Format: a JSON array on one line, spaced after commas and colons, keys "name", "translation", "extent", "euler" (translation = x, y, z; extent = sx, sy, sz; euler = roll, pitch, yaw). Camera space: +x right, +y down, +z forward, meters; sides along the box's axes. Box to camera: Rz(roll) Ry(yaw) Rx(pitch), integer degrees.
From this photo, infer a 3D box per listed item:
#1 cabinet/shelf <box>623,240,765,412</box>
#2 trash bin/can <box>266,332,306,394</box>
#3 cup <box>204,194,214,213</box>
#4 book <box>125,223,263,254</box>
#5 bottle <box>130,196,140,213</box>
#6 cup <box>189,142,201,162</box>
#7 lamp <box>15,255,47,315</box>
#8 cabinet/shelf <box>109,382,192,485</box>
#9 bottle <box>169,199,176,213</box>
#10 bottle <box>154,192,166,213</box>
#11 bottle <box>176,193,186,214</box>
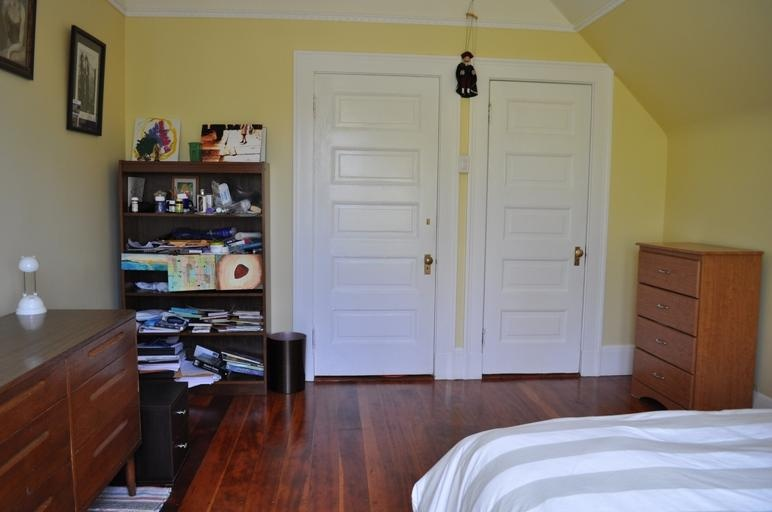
[{"name": "cabinet/shelf", "translation": [2.259, 0.567, 4.044], "extent": [0.835, 1.269, 0.583], "euler": [9, 17, 26]}, {"name": "trash bin/can", "translation": [-0.783, 0.882, 4.590], "extent": [0.400, 0.431, 0.392], "euler": [0, 5, 3]}, {"name": "cup", "translation": [-1.382, -0.407, 4.314], "extent": [0.078, 0.126, 0.091], "euler": [-5, 16, -21]}, {"name": "book", "translation": [-1.494, -0.134, 4.396], "extent": [1.028, 0.167, 0.322], "euler": [-1, 15, -7]}, {"name": "bottle", "translation": [-1.930, -0.393, 4.247], "extent": [0.070, 0.103, 0.126], "euler": [-5, 16, -22]}, {"name": "cup", "translation": [-1.511, -0.829, 4.378], "extent": [0.091, 0.138, 0.126], "euler": [-4, 16, -19]}, {"name": "lamp", "translation": [-2.121, 0.159, 3.267], "extent": [0.147, 0.368, 0.507], "euler": [-9, 18, -33]}, {"name": "cabinet/shelf", "translation": [-1.414, 1.007, 3.561], "extent": [0.467, 0.587, 0.637], "euler": [-1, 7, -8]}, {"name": "bottle", "translation": [-1.656, -0.387, 4.283], "extent": [0.048, 0.088, 0.093], "euler": [-7, 17, -29]}, {"name": "bottle", "translation": [-1.741, -0.414, 4.264], "extent": [0.081, 0.144, 0.105], "euler": [-5, 16, -22]}, {"name": "bottle", "translation": [-1.596, -0.417, 4.333], "extent": [0.096, 0.128, 0.184], "euler": [-4, 16, -19]}]
